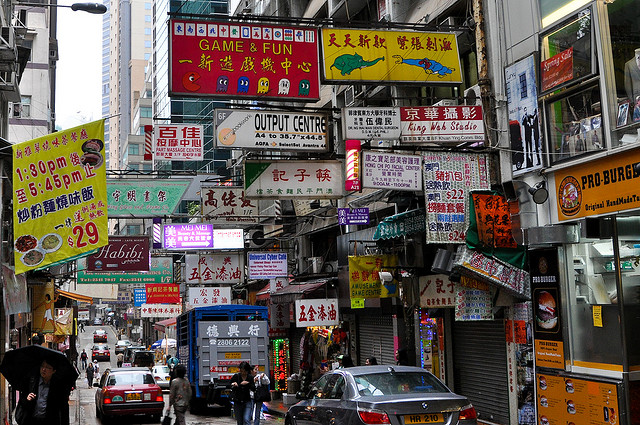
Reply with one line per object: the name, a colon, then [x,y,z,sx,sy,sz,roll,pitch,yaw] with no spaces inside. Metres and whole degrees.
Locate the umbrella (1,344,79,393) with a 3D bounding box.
umbrella: [-6.781,3.754,21.999,1.855,1.121,0.484,-3,-3,19]

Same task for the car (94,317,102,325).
car: [-31.288,15.511,129.323,1.341,1.020,2.973,0,-7,-12]

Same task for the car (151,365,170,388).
car: [-7.099,7.389,41.390,1.212,0.980,2.904,1,-4,-11]

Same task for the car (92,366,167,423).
car: [-6.447,6.300,31.056,1.961,1.770,2.085,0,-3,-22]

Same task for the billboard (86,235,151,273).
billboard: [-7.685,1.617,35.186,2.398,1.463,0.281,0,-5,-4]

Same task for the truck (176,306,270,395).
truck: [-3.519,4.873,32.745,2.112,2.236,3.571,1,-8,-12]

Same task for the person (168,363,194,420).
person: [-3.946,5.089,25.988,0.657,1.464,1.708,-1,-3,-8]

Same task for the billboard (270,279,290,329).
billboard: [-1.547,3.910,39.353,1.091,2.148,1.250,-3,-6,-1]

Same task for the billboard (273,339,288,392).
billboard: [-1.488,5.872,35.098,0.499,1.972,0.353,-2,-3,5]

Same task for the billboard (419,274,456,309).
billboard: [3.582,2.334,27.014,0.155,1.025,1.484,8,-11,-44]

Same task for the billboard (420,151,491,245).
billboard: [3.714,-0.445,25.264,2.042,2.667,0.109,2,-15,-8]

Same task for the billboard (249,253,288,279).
billboard: [-2.043,2.121,36.411,1.609,1.013,0.490,1,-4,-37]

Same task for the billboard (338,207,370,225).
billboard: [1.150,0.123,30.901,1.032,0.524,0.559,-1,-3,-7]

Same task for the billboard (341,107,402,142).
billboard: [1.432,-2.416,24.778,1.611,0.888,0.199,-1,-3,-7]
